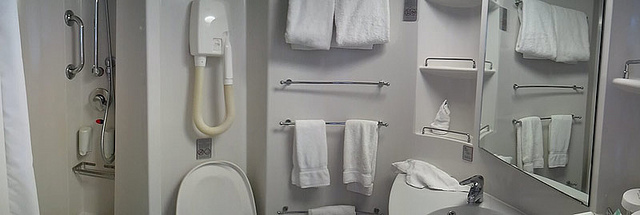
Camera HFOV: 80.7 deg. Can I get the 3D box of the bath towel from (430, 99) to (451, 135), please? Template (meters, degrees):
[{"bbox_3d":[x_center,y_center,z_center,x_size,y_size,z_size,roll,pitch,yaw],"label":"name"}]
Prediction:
[{"bbox_3d":[1.672,0.150,5.176,0.223,0.440,0.256,-3,-4,40],"label":"bath towel"}]

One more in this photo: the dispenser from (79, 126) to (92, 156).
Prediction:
[{"bbox_3d":[-3.160,0.442,5.103,0.151,0.379,0.053,0,3,-3],"label":"dispenser"}]

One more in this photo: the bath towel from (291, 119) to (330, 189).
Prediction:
[{"bbox_3d":[-0.128,0.622,5.133,0.500,0.909,0.058,0,3,-5],"label":"bath towel"}]

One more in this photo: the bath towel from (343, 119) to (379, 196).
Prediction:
[{"bbox_3d":[0.603,0.659,5.398,0.692,1.050,0.346,3,4,12],"label":"bath towel"}]
